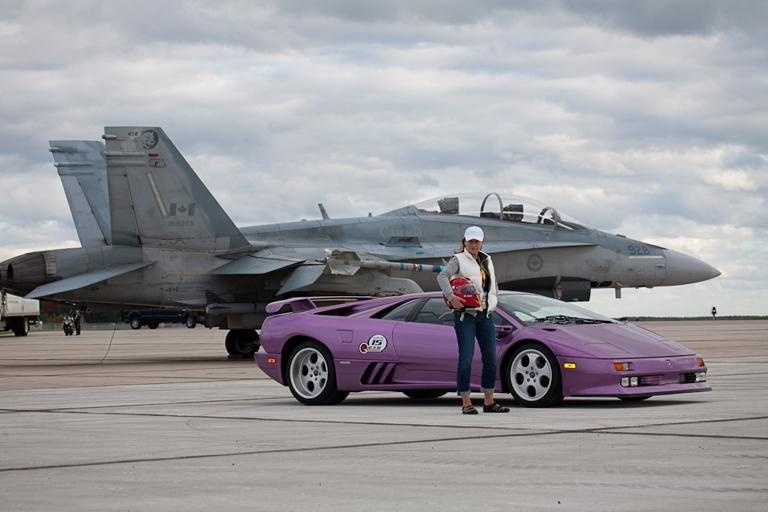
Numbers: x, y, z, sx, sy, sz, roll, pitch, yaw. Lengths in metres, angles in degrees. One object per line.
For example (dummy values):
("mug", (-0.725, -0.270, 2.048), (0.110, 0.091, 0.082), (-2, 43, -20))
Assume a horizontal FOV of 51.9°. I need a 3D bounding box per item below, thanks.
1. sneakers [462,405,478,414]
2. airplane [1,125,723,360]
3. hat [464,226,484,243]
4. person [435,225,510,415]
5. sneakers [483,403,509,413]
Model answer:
("sneakers", (1.051, 1.861, 9.512), (0.213, 0.051, 0.096), (-3, 0, 27))
("airplane", (-1.616, -0.216, 21.644), (14.477, 2.698, 9.262), (0, 1, -10))
("hat", (1.205, -0.286, 10.191), (0.367, 0.163, 0.425), (1, -7, 1))
("person", (1.080, 0.775, 9.860), (0.721, 2.247, 0.808), (-5, -1, 5))
("sneakers", (1.374, 1.857, 9.620), (0.305, 0.068, 0.113), (-2, 0, 5))
